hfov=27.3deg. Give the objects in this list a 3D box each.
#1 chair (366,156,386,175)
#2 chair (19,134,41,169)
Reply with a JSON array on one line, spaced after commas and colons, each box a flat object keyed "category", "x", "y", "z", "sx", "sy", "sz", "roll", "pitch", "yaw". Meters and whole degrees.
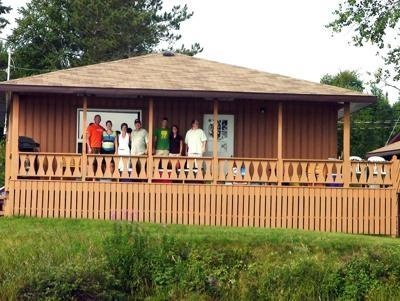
[{"category": "chair", "x": 7.238, "y": 0.666, "z": 33.783, "sx": 0.812, "sy": 1.069, "sz": 0.898, "roll": 0, "pitch": 3, "yaw": -5}, {"category": "chair", "x": -6.482, "y": 0.099, "z": 31.036, "sx": 1.038, "sy": 1.609, "sz": 1.007, "roll": 0, "pitch": 4, "yaw": -6}]
